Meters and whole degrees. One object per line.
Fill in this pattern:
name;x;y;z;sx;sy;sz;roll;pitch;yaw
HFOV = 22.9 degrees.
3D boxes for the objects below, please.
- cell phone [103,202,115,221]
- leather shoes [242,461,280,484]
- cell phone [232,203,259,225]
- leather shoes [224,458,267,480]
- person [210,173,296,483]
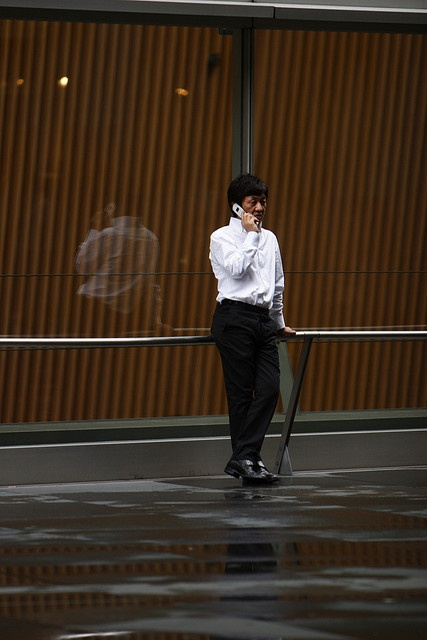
cell phone;-0.565;-0.583;5.694;0.055;0.095;0.067;5;19;1
leather shoes;0.213;0.677;4.711;0.147;0.066;0.095;-4;-6;41
cell phone;0.141;-0.495;5.009;0.052;0.059;0.219;36;7;-38
leather shoes;0.144;0.673;4.773;0.218;0.109;0.076;1;-3;19
person;0.139;0.021;4.910;0.327;1.430;0.540;-4;-23;24
